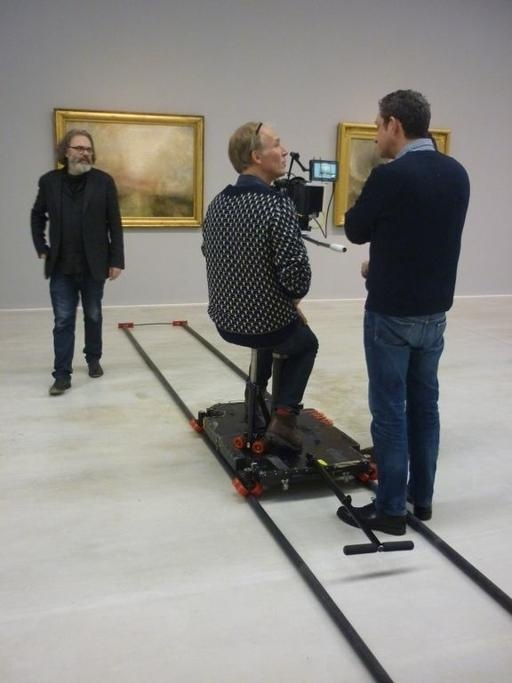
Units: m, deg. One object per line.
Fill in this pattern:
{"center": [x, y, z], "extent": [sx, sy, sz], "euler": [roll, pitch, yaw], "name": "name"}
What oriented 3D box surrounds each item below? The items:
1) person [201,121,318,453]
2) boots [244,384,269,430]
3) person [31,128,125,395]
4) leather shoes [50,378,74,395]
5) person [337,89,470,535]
{"center": [0.009, -0.181, 2.266], "extent": [0.483, 1.349, 0.468], "euler": [2, 11, 6], "name": "person"}
{"center": [-0.013, 0.262, 2.572], "extent": [0.137, 0.262, 0.146], "euler": [1, 18, 6], "name": "boots"}
{"center": [-1.149, -0.531, 3.712], "extent": [0.569, 1.672, 0.582], "euler": [-3, 12, -20], "name": "person"}
{"center": [-1.235, 0.286, 3.616], "extent": [0.085, 0.099, 0.216], "euler": [4, 11, 15], "name": "leather shoes"}
{"center": [0.514, -0.085, 1.983], "extent": [0.441, 1.468, 0.445], "euler": [-4, 5, -31], "name": "person"}
